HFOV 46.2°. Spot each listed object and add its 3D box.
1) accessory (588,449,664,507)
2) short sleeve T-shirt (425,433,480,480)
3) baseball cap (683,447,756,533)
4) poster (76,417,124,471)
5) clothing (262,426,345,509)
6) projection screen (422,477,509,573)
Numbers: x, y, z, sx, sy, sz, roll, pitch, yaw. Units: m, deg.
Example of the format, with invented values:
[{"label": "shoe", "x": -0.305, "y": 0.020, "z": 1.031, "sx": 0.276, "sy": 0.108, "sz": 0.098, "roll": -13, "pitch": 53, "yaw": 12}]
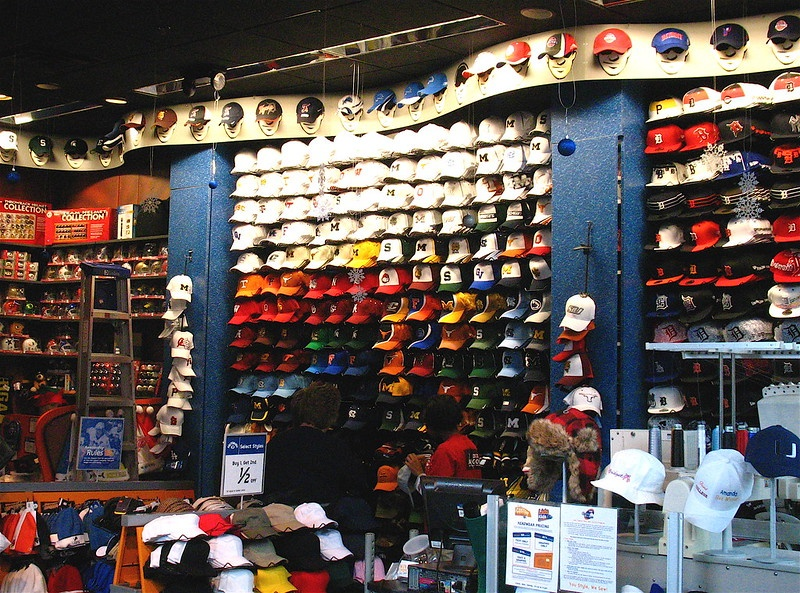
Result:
[{"label": "accessory", "x": 1.133, "y": 0.907, "z": 4.671, "sx": 0.309, "sy": 0.160, "sz": 0.272, "roll": 17, "pitch": -6, "yaw": -41}, {"label": "short sleeve T-shirt", "x": 0.325, "y": 1.029, "z": 6.001, "sx": 0.258, "sy": 0.277, "sz": 0.475, "roll": -3, "pitch": -6, "yaw": 30}, {"label": "baseball cap", "x": 1.497, "y": 0.932, "z": 4.428, "sx": 0.273, "sy": 0.406, "sz": 0.171, "roll": 26, "pitch": -17, "yaw": 22}, {"label": "poster", "x": -2.619, "y": 1.277, "z": 8.109, "sx": 0.476, "sy": 0.569, "sz": 0.077, "roll": 2, "pitch": -3, "yaw": -29}, {"label": "clothing", "x": -0.701, "y": 1.160, "z": 6.403, "sx": 0.592, "sy": 0.320, "sz": 0.888, "roll": 4, "pitch": 14, "yaw": 3}, {"label": "projection screen", "x": 0.310, "y": 1.179, "z": 4.903, "sx": 0.457, "sy": 0.402, "sz": 0.210, "roll": 4, "pitch": -30, "yaw": -17}]
